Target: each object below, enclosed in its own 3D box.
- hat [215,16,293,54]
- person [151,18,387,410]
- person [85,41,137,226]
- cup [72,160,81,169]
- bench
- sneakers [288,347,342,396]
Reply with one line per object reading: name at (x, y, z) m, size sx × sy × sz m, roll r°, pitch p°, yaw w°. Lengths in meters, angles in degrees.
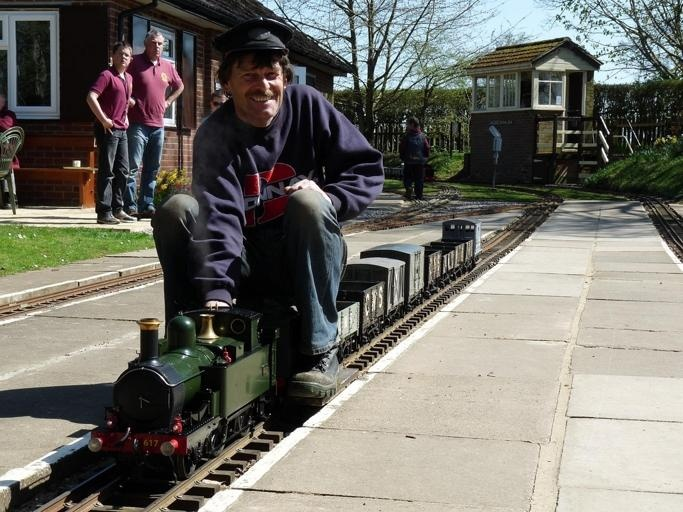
hat at (-0.498, -1.309, 4.656) m, size 0.448 × 0.193 × 0.484 m, roll -6°, pitch 3°, yaw -18°
person at (-0.414, -0.261, 4.579) m, size 1.372 × 2.287 × 0.786 m, roll -1°, pitch 8°, yaw -15°
person at (-3.743, -2.014, 12.566) m, size 0.508 × 2.969 × 0.929 m, roll 3°, pitch 8°, yaw 17°
cup at (-5.005, -1.756, 14.562) m, size 0.218 × 0.153 × 0.215 m, roll 0°, pitch -2°, yaw 0°
bench at (-5.740, -1.797, 15.377) m, size 1.976 × 1.241 × 0.705 m, roll 6°, pitch 20°, yaw 22°
sneakers at (-0.123, 0.687, 4.794) m, size 0.253 × 0.282 × 0.684 m, roll 2°, pitch 6°, yaw 11°
